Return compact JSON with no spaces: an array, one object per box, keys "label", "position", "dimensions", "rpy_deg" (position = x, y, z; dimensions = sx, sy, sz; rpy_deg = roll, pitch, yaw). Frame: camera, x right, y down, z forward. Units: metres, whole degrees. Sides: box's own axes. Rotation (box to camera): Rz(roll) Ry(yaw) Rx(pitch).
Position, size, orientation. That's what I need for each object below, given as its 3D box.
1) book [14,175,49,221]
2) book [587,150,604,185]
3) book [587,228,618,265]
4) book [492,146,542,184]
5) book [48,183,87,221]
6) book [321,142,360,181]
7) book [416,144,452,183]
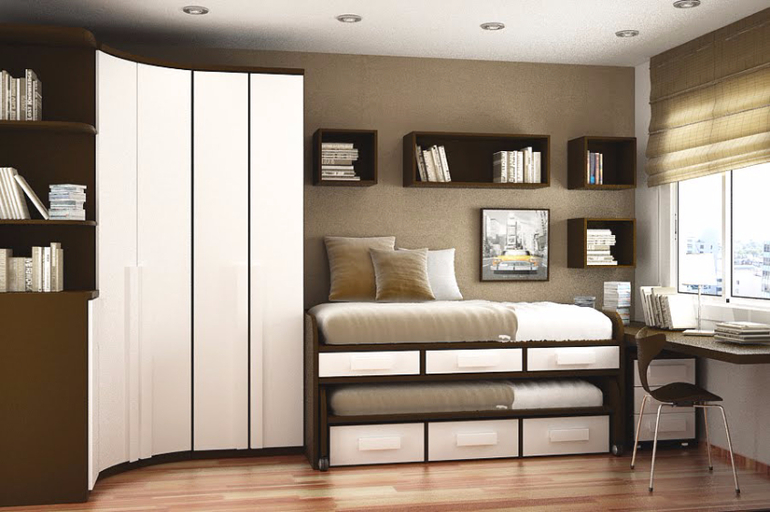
[{"label":"book","position":[-2.454,-0.416,4.693],"dimensions":[0.071,0.265,0.279],"rpy_deg":[-35,-18,-12]},{"label":"book","position":[1.903,-0.791,6.120],"dimensions":[0.157,0.299,0.336],"rpy_deg":[3,8,17]},{"label":"book","position":[1.916,-0.080,6.047],"dimensions":[0.279,0.312,0.174],"rpy_deg":[0,8,-5]},{"label":"book","position":[1.149,-0.744,6.037],"dimensions":[0.515,0.396,0.327],"rpy_deg":[2,2,-6]},{"label":"book","position":[-2.180,-0.349,4.720],"dimensions":[0.341,0.276,0.251],"rpy_deg":[0,0,-27]},{"label":"book","position":[-0.388,-0.793,5.672],"dimensions":[0.439,0.329,0.153],"rpy_deg":[1,-1,-10]},{"label":"book","position":[0.422,-0.782,6.001],"dimensions":[0.334,0.349,0.403],"rpy_deg":[-9,1,-13]}]
